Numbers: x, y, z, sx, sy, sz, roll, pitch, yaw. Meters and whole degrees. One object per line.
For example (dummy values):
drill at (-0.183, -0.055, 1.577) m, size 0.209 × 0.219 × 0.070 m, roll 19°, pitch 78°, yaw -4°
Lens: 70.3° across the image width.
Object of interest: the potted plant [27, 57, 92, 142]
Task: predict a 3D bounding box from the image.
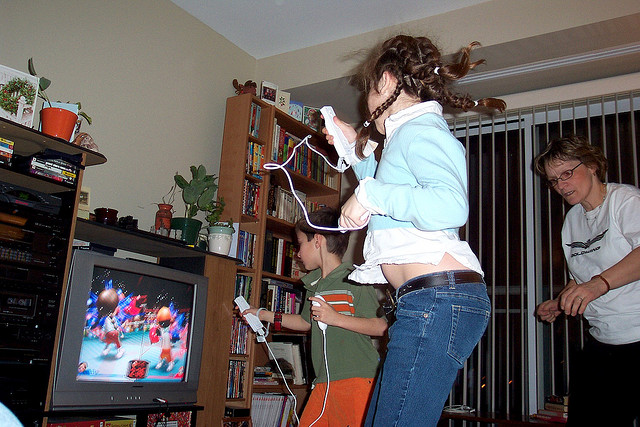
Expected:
potted plant at (-1.463, -0.632, 2.445) m, size 0.357 × 0.353 × 0.328 m, roll 5°, pitch 12°, yaw -40°

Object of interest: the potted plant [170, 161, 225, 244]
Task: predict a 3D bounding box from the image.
potted plant at (-0.914, -0.060, 3.298) m, size 0.386 × 0.628 × 0.368 m, roll 11°, pitch -15°, yaw -37°

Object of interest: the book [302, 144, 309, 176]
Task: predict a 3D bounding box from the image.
book at (-0.129, -0.473, 4.010) m, size 0.017 × 0.271 × 0.078 m, roll -6°, pitch -18°, yaw 30°

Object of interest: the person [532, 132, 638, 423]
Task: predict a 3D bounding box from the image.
person at (1.707, 0.382, 2.897) m, size 0.586 × 1.895 × 0.927 m, roll -4°, pitch -17°, yaw 22°

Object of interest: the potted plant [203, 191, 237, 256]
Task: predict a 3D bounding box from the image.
potted plant at (-0.733, 0.076, 3.320) m, size 0.235 × 0.481 × 0.289 m, roll -6°, pitch -11°, yaw -26°

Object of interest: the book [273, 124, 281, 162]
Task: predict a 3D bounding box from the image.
book at (-0.366, -0.584, 3.760) m, size 0.012 × 0.322 × 0.065 m, roll -8°, pitch -18°, yaw 34°

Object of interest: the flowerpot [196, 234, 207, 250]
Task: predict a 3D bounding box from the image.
flowerpot at (-0.839, 0.191, 3.209) m, size 0.078 × 0.075 × 0.077 m, roll 5°, pitch -8°, yaw -14°

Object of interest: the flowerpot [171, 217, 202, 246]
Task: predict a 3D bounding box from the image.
flowerpot at (-0.899, 0.120, 3.063) m, size 0.185 × 0.143 × 0.165 m, roll 4°, pitch -6°, yaw -28°

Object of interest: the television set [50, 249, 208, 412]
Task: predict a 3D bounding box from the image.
television set at (-1.174, 0.749, 2.682) m, size 0.458 × 0.784 × 0.849 m, roll -21°, pitch -29°, yaw 35°

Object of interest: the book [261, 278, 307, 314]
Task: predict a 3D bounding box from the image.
book at (-0.260, 0.722, 3.779) m, size 0.283 × 0.271 × 0.160 m, roll 11°, pitch 5°, yaw 6°

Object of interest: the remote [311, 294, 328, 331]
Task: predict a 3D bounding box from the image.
remote at (0.010, 0.517, 2.423) m, size 0.103 × 0.189 × 0.045 m, roll 0°, pitch 8°, yaw 44°

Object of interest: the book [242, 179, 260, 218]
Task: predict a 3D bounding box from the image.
book at (-0.546, -0.108, 3.536) m, size 0.139 × 0.256 × 0.246 m, roll 2°, pitch 15°, yaw 8°

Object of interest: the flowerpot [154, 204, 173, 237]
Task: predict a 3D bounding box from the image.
flowerpot at (-1.084, 0.041, 3.137) m, size 0.106 × 0.235 × 0.118 m, roll 8°, pitch -16°, yaw -20°

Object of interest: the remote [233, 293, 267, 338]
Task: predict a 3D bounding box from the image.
remote at (-0.452, 0.666, 2.925) m, size 0.116 × 0.379 × 0.037 m, roll -38°, pitch 5°, yaw -29°

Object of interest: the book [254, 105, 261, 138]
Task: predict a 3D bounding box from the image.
book at (-0.511, -0.758, 3.698) m, size 0.019 × 0.290 × 0.056 m, roll -2°, pitch -16°, yaw 16°

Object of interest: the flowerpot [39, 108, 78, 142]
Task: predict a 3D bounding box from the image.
flowerpot at (-1.447, -0.480, 2.456) m, size 0.160 × 0.109 × 0.160 m, roll 11°, pitch -2°, yaw -19°

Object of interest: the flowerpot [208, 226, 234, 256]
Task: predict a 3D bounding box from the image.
flowerpot at (-0.705, 0.210, 3.243) m, size 0.185 × 0.200 × 0.182 m, roll 12°, pitch -19°, yaw -43°

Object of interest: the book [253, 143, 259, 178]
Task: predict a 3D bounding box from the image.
book at (-0.513, -0.424, 3.607) m, size 0.019 × 0.265 × 0.055 m, roll -11°, pitch -20°, yaw 40°

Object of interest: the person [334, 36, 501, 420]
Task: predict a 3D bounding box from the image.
person at (0.374, -0.008, 1.738) m, size 0.559 × 1.509 × 0.359 m, roll -3°, pitch -16°, yaw 20°
